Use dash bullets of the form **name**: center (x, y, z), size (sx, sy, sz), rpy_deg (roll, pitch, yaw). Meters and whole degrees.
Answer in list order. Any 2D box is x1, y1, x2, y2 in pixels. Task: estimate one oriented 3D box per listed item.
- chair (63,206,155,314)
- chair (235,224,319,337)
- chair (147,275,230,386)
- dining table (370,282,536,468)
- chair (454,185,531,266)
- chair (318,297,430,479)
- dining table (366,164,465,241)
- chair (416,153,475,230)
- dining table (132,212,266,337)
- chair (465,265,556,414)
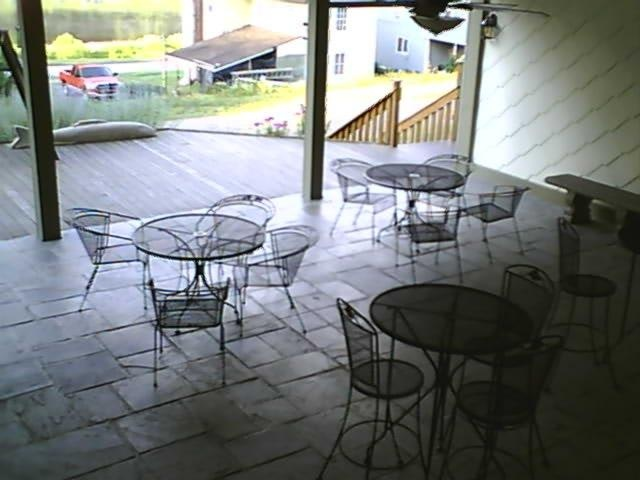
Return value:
- **chair**: center (-2.326, 0.259, 6.279), size (0.954, 1.016, 0.775), rpy_deg (-4, 38, -14)
- **chair**: center (-0.483, 0.390, 5.981), size (0.951, 0.924, 0.770), rpy_deg (-2, 21, -5)
- **chair**: center (-1.182, 0.770, 5.215), size (0.761, 0.833, 0.672), rpy_deg (1, 14, -4)
- **dining table**: center (1.259, 1.009, 4.868), size (1.365, 1.390, 1.288), rpy_deg (13, 30, 24)
- **chair**: center (2.244, -0.156, 7.461), size (0.857, 0.931, 0.780), rpy_deg (-11, 34, -17)
- **chair**: center (0.440, 1.058, 4.241), size (0.757, 1.168, 0.916), rpy_deg (4, 28, 6)
- **dining table**: center (1.164, -0.406, 7.426), size (1.117, 0.629, 1.056), rpy_deg (-21, 38, -32)
- **chair**: center (1.612, -0.848, 9.038), size (0.983, 1.192, 1.017), rpy_deg (-3, 15, -18)
- **dining table**: center (-1.253, 0.435, 5.917), size (1.227, 0.717, 1.242), rpy_deg (28, 37, 34)
- **chair**: center (2.006, 0.812, 5.748), size (0.728, 1.203, 0.355), rpy_deg (15, 12, 41)
